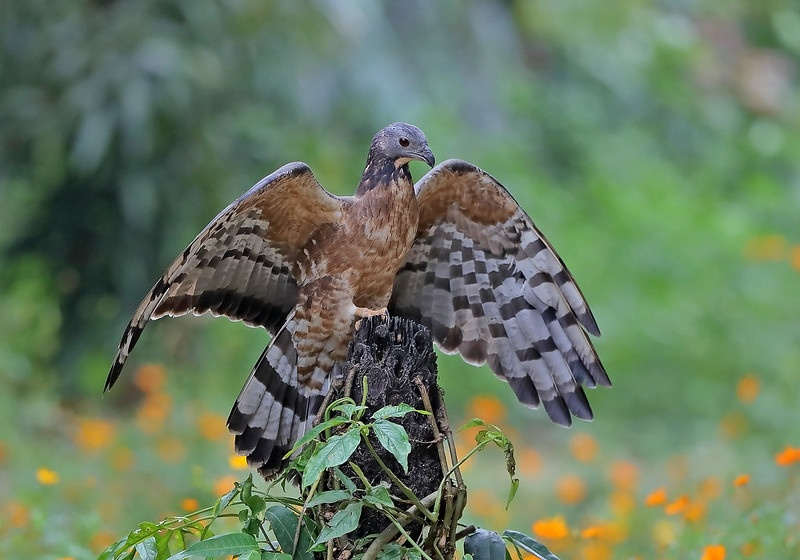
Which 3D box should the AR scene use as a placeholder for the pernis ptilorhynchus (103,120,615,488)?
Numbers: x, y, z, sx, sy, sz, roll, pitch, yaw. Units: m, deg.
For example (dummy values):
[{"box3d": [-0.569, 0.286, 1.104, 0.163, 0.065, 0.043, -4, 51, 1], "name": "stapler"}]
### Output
[{"box3d": [-0.242, 0.005, 4.933, 2.225, 1.210, 1.300, 9, -26, -30], "name": "pernis ptilorhynchus"}]
